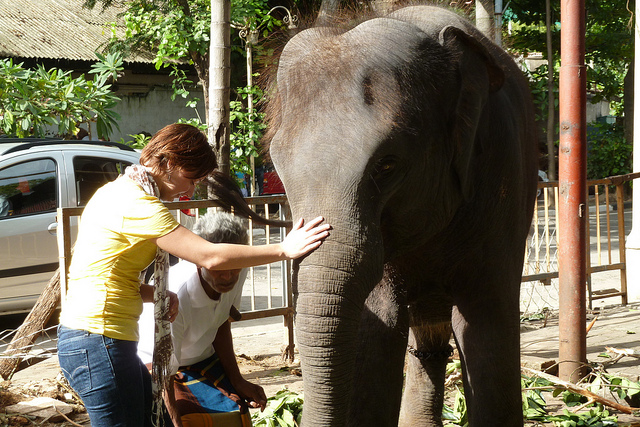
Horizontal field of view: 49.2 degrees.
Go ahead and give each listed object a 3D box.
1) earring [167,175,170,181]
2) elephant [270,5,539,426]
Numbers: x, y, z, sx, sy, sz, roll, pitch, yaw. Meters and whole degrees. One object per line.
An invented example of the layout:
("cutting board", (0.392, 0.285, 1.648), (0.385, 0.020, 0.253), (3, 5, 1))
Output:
("earring", (-0.914, -0.211, 4.215), (0.017, 0.033, 0.008), (4, 5, 0))
("elephant", (0.532, 0.079, 4.137), (0.857, 2.593, 1.613), (-1, 1, 45))
